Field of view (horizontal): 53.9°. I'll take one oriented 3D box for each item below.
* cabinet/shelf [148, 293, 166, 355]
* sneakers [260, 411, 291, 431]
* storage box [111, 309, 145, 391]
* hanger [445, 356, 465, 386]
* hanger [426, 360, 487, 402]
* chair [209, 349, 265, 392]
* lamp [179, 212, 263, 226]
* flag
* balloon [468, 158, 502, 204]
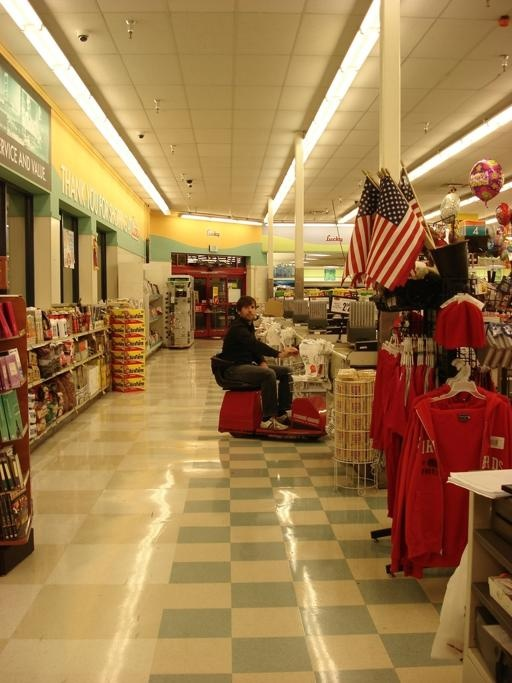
[{"bbox_3d":[-2.849,-0.549,14.317,0.495,1.453,1.568,0,10,-2],"label":"cabinet/shelf"},{"bbox_3d":[0.196,0.813,5.114,0.318,0.162,0.126,-2,5,1],"label":"sneakers"},{"bbox_3d":[-2.023,0.129,7.858,0.571,1.284,0.483,-5,6,-13],"label":"storage box"},{"bbox_3d":[0.856,0.125,2.172,0.109,0.123,0.066,0,13,-1],"label":"hanger"},{"bbox_3d":[0.812,0.121,2.048,0.200,0.063,0.168,-2,12,4],"label":"hanger"},{"bbox_3d":[-0.277,0.280,5.006,0.342,0.335,0.381,-2,-1,-4],"label":"chair"},{"bbox_3d":[-1.336,-4.664,19.359,3.653,0.386,0.380,-9,8,-40],"label":"lamp"},{"bbox_3d":[0.631,-0.547,2.388,0.383,0.607,0.486,-4,6,-2],"label":"flag"},{"bbox_3d":[2.434,-1.739,5.352,0.308,0.413,0.364,-1,7,27],"label":"balloon"}]
